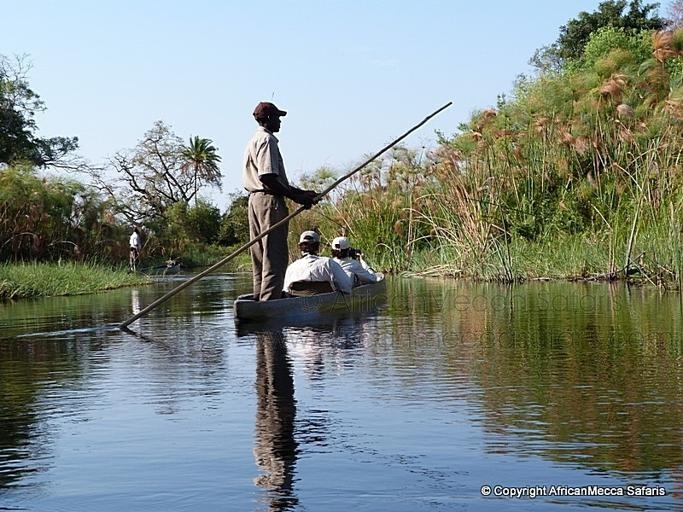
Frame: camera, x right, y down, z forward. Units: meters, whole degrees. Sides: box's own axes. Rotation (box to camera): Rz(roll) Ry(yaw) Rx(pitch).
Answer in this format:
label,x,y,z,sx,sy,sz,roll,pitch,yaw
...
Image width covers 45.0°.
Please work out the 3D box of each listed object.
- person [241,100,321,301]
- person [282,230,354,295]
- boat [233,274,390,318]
label,x,y,z,sx,sy,sz,roll,pitch,yaw
person,-0.831,-0.679,10.398,0.757,2.559,0.911,-2,5,-7
person,-0.378,0.110,11.426,0.998,0.833,0.620,-2,-8,15
boat,-0.294,0.641,11.309,0.645,0.378,3.093,-3,3,32
